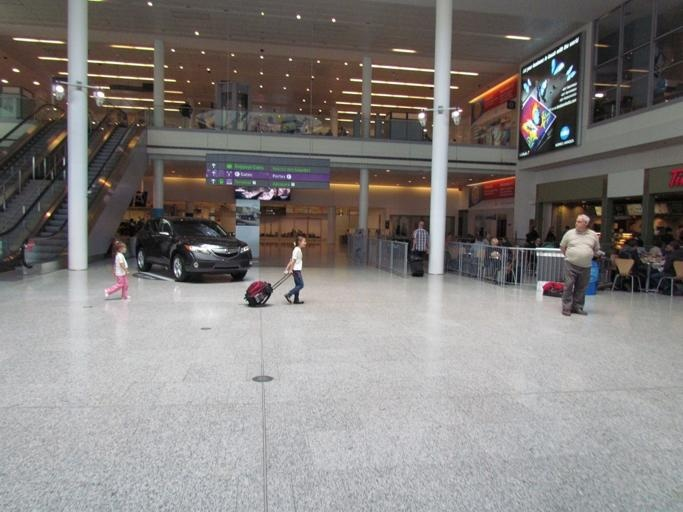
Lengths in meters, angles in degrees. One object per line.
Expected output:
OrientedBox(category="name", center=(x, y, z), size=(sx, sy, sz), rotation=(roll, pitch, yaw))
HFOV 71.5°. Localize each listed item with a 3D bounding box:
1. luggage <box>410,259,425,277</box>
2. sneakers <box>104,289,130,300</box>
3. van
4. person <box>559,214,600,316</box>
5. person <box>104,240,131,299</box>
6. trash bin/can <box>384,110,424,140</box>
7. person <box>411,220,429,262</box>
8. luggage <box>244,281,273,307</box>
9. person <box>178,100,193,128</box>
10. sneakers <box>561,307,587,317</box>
OrientedBox(category="luggage", center=(2.531, 0.360, 16.029), size=(0.370, 0.593, 0.803), rotation=(3, 5, 5))
OrientedBox(category="sneakers", center=(-4.877, 0.832, 10.298), size=(0.134, 0.196, 0.560), rotation=(0, -18, -6))
OrientedBox(category="van", center=(-4.524, -0.203, 13.938), size=(1.640, 1.360, 3.624), rotation=(1, 2, -35))
OrientedBox(category="person", center=(4.766, 0.171, 9.576), size=(0.649, 1.975, 0.952), rotation=(5, 6, 29))
OrientedBox(category="person", center=(-5.075, 0.240, 10.752), size=(0.471, 1.234, 2.240), rotation=(0, 6, -25))
OrientedBox(category="trash bin/can", center=(3.160, -6.453, 23.904), size=(1.941, 1.543, 0.961), rotation=(3, 5, -2))
OrientedBox(category="person", center=(2.806, -0.493, 16.789), size=(0.566, 1.438, 2.797), rotation=(3, 5, 11))
OrientedBox(category="luggage", center=(-1.726, 0.772, 9.785), size=(0.492, 0.533, 0.480), rotation=(6, -3, -11))
OrientedBox(category="person", center=(-7.215, -6.434, 22.029), size=(0.593, 0.981, 0.350), rotation=(1, 5, -19))
OrientedBox(category="sneakers", center=(4.609, 1.113, 9.444), size=(0.520, 0.249, 0.190), rotation=(-2, 4, 9))
